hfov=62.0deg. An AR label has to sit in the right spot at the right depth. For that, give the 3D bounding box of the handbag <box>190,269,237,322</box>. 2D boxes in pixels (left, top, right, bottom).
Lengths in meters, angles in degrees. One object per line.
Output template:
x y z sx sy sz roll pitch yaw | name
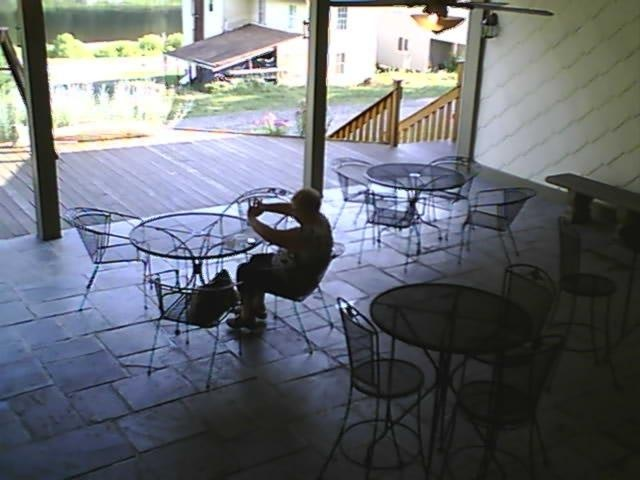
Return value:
-0.905 0.434 4.488 0.411 0.398 0.621 -2 25 -8 | handbag

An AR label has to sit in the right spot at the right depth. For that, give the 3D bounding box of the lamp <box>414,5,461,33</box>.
0.961 -1.919 4.605 0.347 0.104 0.320 22 48 25 | lamp

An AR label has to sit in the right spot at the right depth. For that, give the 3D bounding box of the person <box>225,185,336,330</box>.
-0.361 0.211 4.927 1.042 1.392 0.790 12 21 10 | person

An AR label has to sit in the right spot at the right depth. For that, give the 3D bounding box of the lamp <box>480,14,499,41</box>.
2.731 -3.409 8.533 0.312 0.477 0.429 3 52 17 | lamp
